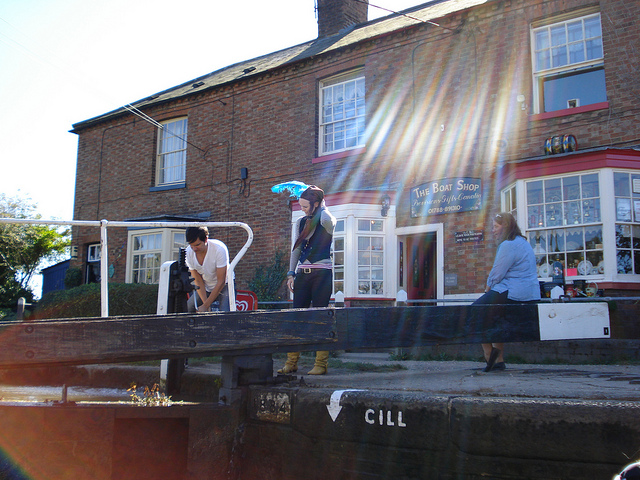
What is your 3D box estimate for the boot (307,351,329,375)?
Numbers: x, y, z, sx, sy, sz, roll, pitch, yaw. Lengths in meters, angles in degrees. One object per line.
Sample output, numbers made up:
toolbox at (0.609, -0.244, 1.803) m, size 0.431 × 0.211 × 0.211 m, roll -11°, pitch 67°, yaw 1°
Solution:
boot at (0.013, 1.292, 6.610) m, size 0.165 × 0.258 × 0.354 m, roll 2°, pitch 5°, yaw 27°
